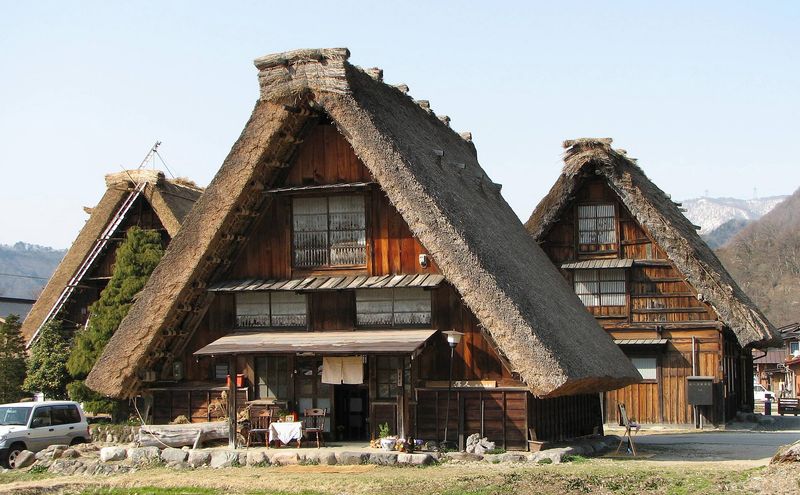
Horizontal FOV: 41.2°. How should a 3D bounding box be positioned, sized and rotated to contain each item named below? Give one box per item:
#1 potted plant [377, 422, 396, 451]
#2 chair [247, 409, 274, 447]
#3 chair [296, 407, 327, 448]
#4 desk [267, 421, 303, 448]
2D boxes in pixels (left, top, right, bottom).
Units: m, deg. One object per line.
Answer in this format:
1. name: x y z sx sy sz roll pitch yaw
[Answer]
1. potted plant: -0.330 5.550 31.119 0.563 0.763 0.610 -1 -1 34
2. chair: -4.193 5.542 32.082 0.738 1.204 0.856 0 9 -10
3. chair: -2.569 5.420 31.771 0.691 1.088 0.765 0 6 -3
4. desk: -3.335 5.433 31.648 0.987 0.624 0.717 0 -3 14
